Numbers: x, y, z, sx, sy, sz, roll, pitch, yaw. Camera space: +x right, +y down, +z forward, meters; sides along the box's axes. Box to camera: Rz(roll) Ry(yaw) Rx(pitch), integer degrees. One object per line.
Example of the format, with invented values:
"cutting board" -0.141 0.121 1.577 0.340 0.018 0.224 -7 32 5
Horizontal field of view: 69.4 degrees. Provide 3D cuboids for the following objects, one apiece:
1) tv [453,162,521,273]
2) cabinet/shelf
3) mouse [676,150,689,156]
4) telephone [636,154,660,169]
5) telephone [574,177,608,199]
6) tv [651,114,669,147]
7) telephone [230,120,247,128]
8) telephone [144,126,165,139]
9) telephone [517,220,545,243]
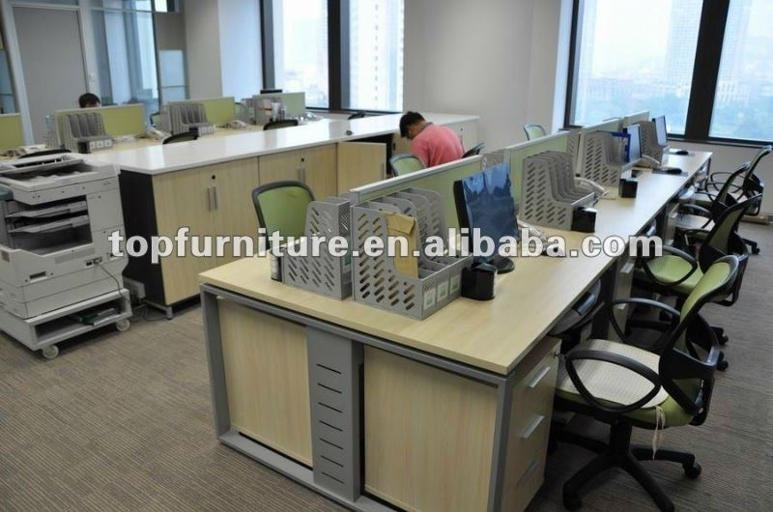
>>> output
"tv" 0.574 -0.207 3.294 0.217 0.563 0.551 5 21 37
"cabinet/shelf" -1.628 -0.170 4.425 0.389 0.925 1.049 12 24 30
"mouse" 3.369 -1.183 6.400 0.117 0.040 0.119 16 28 39
"telephone" 2.627 -0.934 5.655 0.227 0.079 0.172 17 31 32
"telephone" 1.708 -0.562 4.727 0.272 0.110 0.216 26 39 28
"tv" 2.900 -1.325 5.956 0.088 0.376 0.622 -2 26 34
"telephone" -1.960 -1.740 7.405 0.113 0.070 0.162 0 8 -4
"telephone" -2.774 -1.454 6.683 0.246 0.092 0.156 12 20 14
"telephone" 0.979 -0.181 3.806 0.183 0.052 0.143 23 22 21
